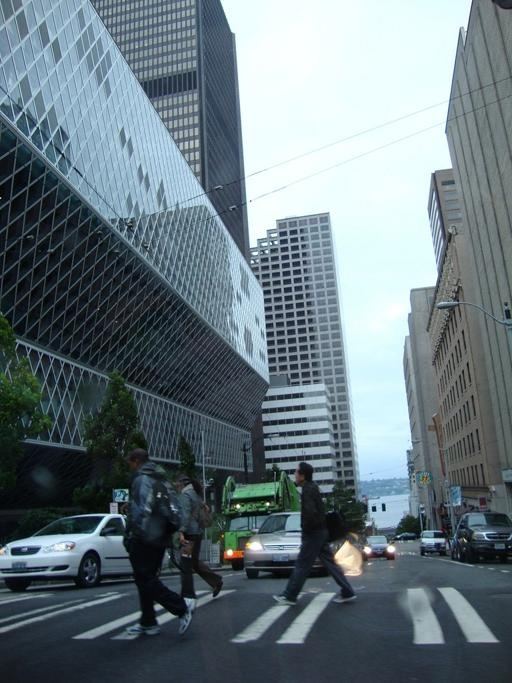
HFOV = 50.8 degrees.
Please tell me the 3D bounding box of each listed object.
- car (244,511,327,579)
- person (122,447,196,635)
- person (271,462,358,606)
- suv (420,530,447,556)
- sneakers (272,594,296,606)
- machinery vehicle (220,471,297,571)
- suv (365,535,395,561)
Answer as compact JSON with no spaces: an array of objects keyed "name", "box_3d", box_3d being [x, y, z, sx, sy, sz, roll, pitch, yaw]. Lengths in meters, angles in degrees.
[{"name":"car","box_3d":[0.455,4.367,11.849,1.228,1.196,3.220,-4,-27,7]},{"name":"person","box_3d":[-0.771,1.586,4.358,0.550,1.459,0.595,2,-15,-12]},{"name":"person","box_3d":[0.693,2.257,6.435,0.863,1.600,1.293,-3,-15,8]},{"name":"suv","box_3d":[13.785,15.644,42.188,1.726,1.778,3.544,-2,-30,5]},{"name":"sneakers","box_3d":[0.314,2.886,6.086,0.126,0.136,0.306,18,-19,-41]},{"name":"machinery vehicle","box_3d":[0.494,8.147,23.131,2.111,3.576,6.817,-4,-28,13]},{"name":"suv","box_3d":[7.123,11.861,30.928,1.461,1.123,2.864,-4,-16,11]}]
